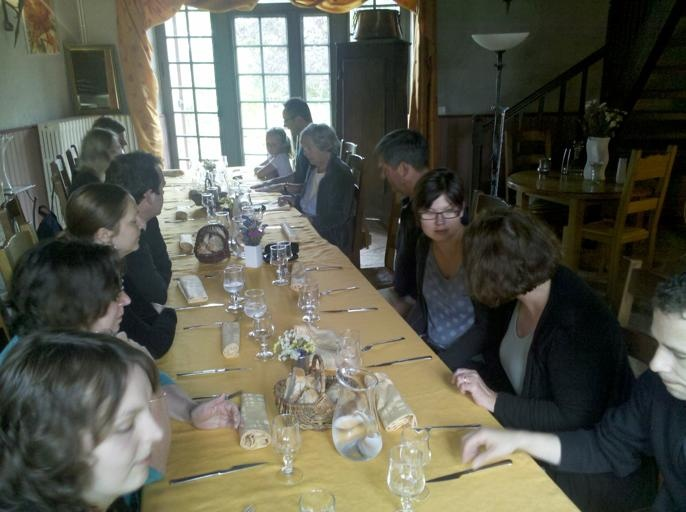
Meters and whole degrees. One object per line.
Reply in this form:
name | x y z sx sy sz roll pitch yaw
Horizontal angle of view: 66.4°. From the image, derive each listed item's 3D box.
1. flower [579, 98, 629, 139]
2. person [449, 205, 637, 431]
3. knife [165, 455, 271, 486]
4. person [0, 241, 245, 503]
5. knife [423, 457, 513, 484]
flower | 2.361 -1.252 4.784 0.270 0.320 0.498 4 19 20
person | 0.709 0.235 2.122 0.651 0.849 0.828 -7 15 5
knife | -0.370 0.640 1.565 0.235 0.013 0.042 -6 23 -16
person | -0.704 0.222 1.874 0.918 1.024 0.517 -6 12 -25
knife | 0.369 0.627 1.537 0.259 0.012 0.039 -12 29 -10
